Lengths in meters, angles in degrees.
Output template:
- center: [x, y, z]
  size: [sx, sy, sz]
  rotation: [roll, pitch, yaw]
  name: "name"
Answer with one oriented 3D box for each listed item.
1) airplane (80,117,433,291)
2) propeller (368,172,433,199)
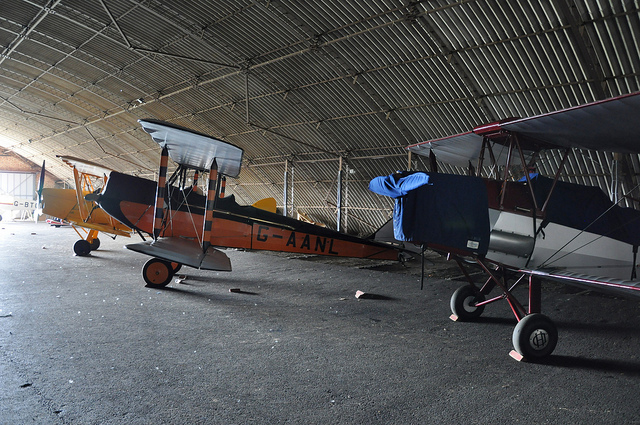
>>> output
- center: [-1.560, 0.235, 9.748]
  size: [6.155, 2.166, 5.366]
  rotation: [9, -7, -14]
  name: "airplane"
- center: [1.176, -0.438, 6.455]
  size: [0.998, 0.342, 0.311]
  rotation: [-8, 1, 40]
  name: "propeller"
